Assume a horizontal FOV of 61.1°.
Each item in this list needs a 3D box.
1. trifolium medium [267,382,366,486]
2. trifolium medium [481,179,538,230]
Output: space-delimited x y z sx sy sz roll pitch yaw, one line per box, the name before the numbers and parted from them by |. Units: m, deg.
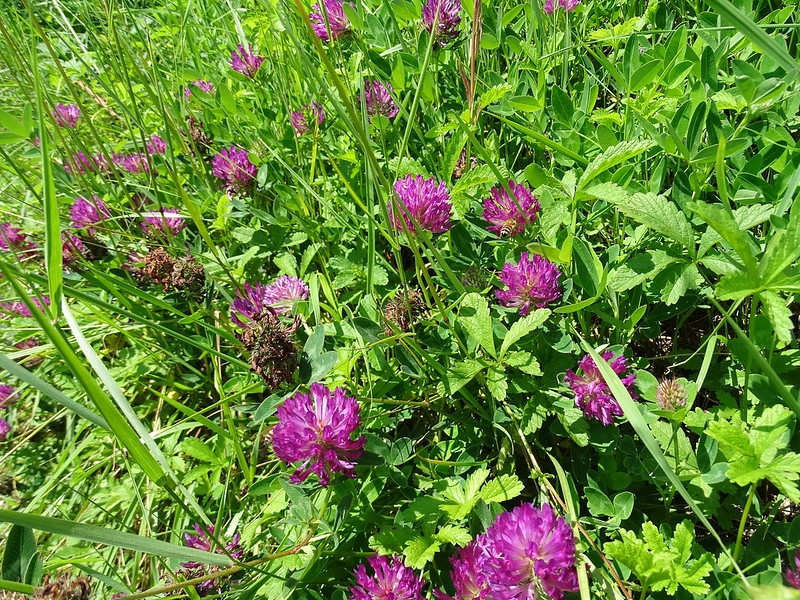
trifolium medium | -0.248 0.407 2.196 0.296 0.285 0.288 34 74 2
trifolium medium | 0.357 -0.312 2.215 0.157 0.108 0.174 -4 86 15
